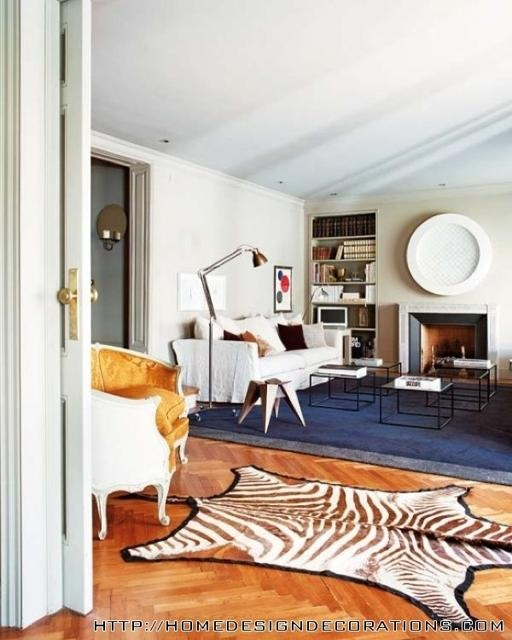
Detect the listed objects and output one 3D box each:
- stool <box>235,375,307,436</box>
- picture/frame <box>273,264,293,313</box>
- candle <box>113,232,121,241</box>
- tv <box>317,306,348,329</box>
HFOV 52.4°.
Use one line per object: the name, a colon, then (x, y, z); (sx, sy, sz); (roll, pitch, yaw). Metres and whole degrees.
stool: (0.128, 0.739, 4.663); (0.455, 0.438, 0.469); (-2, 0, 42)
picture/frame: (0.403, -0.493, 8.075); (0.063, 0.836, 0.790); (-1, 0, 26)
candle: (-1.556, -0.927, 5.864); (0.094, 0.094, 0.049); (-1, 1, 7)
tv: (1.257, -0.021, 8.514); (0.592, 0.508, 0.324); (-2, -7, 25)
